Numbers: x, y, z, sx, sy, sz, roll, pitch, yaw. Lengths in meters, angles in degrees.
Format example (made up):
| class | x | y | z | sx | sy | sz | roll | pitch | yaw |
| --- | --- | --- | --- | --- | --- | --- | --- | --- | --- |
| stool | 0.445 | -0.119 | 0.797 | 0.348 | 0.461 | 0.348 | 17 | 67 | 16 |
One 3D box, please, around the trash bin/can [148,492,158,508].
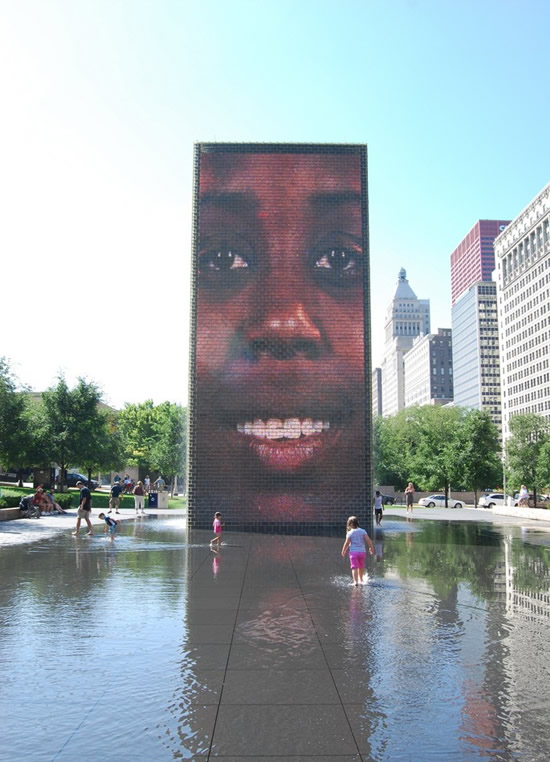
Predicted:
| class | x | y | z | sx | sy | sz | roll | pitch | yaw |
| --- | --- | --- | --- | --- | --- | --- | --- | --- | --- |
| trash bin/can | -8.187 | 7.960 | 47.080 | 0.440 | 1.022 | 0.728 | 3 | -6 | -37 |
